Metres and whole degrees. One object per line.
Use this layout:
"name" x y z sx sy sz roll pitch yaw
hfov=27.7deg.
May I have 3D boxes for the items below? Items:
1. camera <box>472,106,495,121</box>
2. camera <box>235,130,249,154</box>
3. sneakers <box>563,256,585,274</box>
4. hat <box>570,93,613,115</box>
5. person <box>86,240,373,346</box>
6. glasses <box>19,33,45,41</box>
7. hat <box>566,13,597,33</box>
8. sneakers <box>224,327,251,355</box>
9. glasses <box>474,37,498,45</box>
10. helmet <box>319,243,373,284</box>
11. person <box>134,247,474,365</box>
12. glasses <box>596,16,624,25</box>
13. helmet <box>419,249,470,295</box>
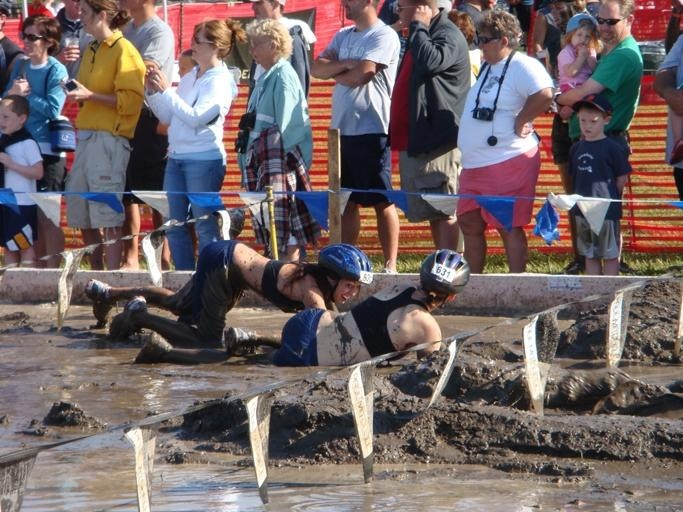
"camera" 1.303 -1.308 12.824 0.180 0.112 0.125 5 2 22
"camera" -0.979 -1.110 13.559 0.109 0.225 0.200 -5 5 -32
"sneakers" 2.319 0.082 13.834 0.191 0.154 0.194 -1 4 13
"hat" 2.325 -1.405 12.831 0.265 0.135 0.194 25 -2 -28
"person" -0.932 0.290 12.031 2.485 0.960 1.033 5 8 -7
"glasses" -3.124 -2.221 14.103 0.220 0.098 0.080 -2 4 -3
"hat" 2.330 -2.274 13.526 0.263 0.210 0.540 -2 5 4
"sneakers" -0.864 0.705 11.589 0.227 0.220 0.201 1 -5 -33
"glasses" 1.356 -1.975 12.805 0.129 0.040 0.123 4 9 -9
"helmet" 0.039 0.026 11.528 0.511 0.253 0.384 16 9 17
"person" -0.224 0.476 11.231 2.628 0.998 0.899 -1 6 -7
"glasses" 2.493 -2.190 12.981 0.234 0.094 0.087 2 6 42
"helmet" 0.823 0.112 10.948 0.307 0.244 0.381 16 -32 12
